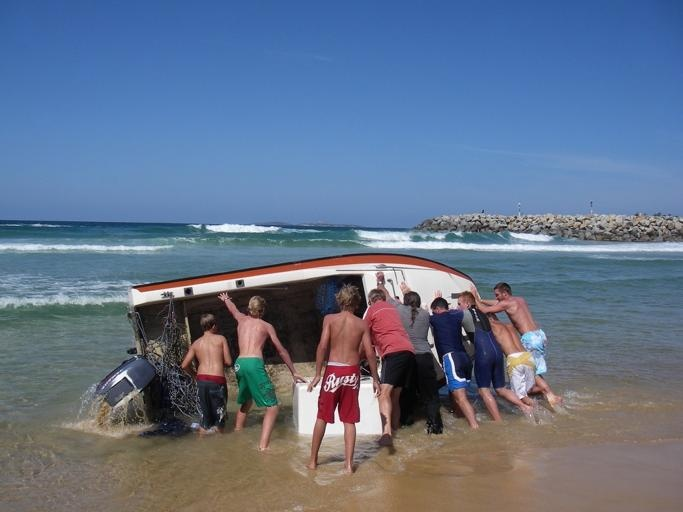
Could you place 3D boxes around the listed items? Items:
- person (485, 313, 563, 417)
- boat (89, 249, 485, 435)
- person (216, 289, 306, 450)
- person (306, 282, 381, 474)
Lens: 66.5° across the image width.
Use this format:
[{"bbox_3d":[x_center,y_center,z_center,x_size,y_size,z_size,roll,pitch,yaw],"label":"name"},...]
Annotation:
[{"bbox_3d":[2.657,1.590,7.812,0.693,1.518,0.973,-27,-6,29],"label":"person"},{"bbox_3d":[-0.422,1.493,8.511,7.096,2.475,2.411,-7,-26,-5],"label":"boat"},{"bbox_3d":[-1.092,1.528,6.901,0.810,2.027,1.114,-4,10,-12],"label":"person"},{"bbox_3d":[-0.023,1.420,6.075,0.854,2.128,0.862,-2,10,2],"label":"person"}]
